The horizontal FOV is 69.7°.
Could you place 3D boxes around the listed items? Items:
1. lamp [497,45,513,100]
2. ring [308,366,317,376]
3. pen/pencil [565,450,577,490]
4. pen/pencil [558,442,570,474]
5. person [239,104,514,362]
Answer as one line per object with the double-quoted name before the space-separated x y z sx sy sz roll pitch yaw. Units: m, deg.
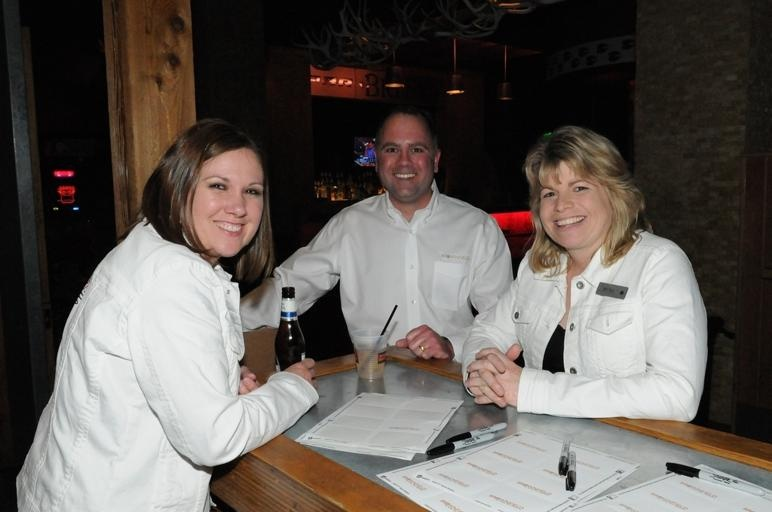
"lamp" 2.003 -3.041 9.276 0.241 0.820 0.937 1 9 12
"ring" -0.276 0.447 2.130 0.036 0.039 0.046 -2 1 4
"pen/pencil" 0.526 0.613 1.587 0.027 0.029 0.119 1 38 15
"pen/pencil" 0.526 0.598 1.636 0.027 0.016 0.110 19 34 13
"person" -0.036 -0.106 3.256 1.962 1.422 0.911 3 17 18
